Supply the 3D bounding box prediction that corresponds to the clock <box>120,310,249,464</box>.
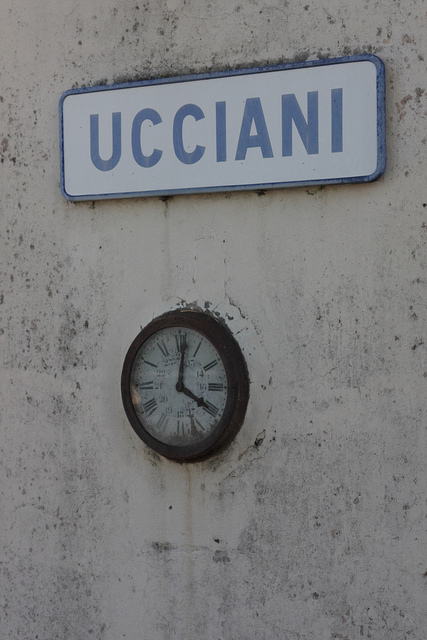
[{"bbox_3d":[-0.095,0.154,3.817,0.298,0.533,0.099,2,43,0],"label":"clock"}]
